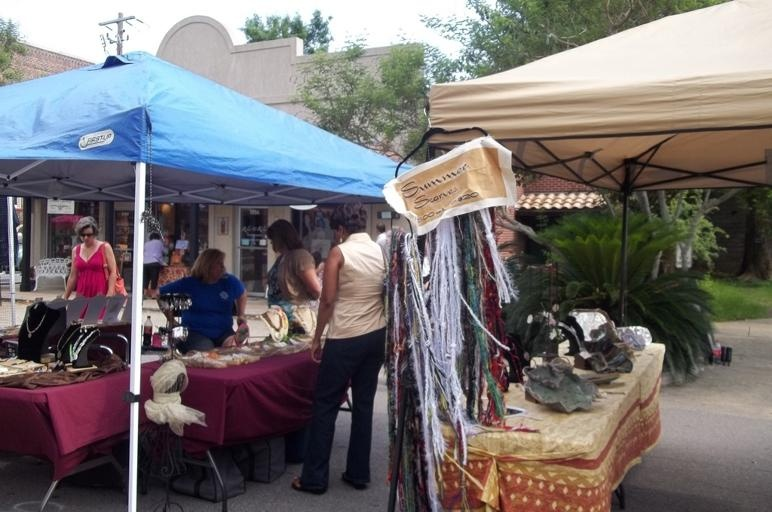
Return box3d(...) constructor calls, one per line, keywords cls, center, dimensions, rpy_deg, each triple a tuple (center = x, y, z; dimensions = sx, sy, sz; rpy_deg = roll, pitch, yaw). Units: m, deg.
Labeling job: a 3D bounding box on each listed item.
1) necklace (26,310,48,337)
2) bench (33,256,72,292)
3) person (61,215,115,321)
box3d(cls="necklace", center=(-2.923, 0.600, 5.102), dimensions=(0.141, 0.185, 0.035), rpy_deg=(4, -7, 25))
box3d(cls="bench", center=(-9.241, 0.572, 16.839), dimensions=(0.935, 1.118, 0.920), rpy_deg=(0, -7, -5))
box3d(cls="person", center=(-3.755, 0.045, 7.678), dimensions=(0.643, 1.039, 0.660), rpy_deg=(0, 5, -10))
